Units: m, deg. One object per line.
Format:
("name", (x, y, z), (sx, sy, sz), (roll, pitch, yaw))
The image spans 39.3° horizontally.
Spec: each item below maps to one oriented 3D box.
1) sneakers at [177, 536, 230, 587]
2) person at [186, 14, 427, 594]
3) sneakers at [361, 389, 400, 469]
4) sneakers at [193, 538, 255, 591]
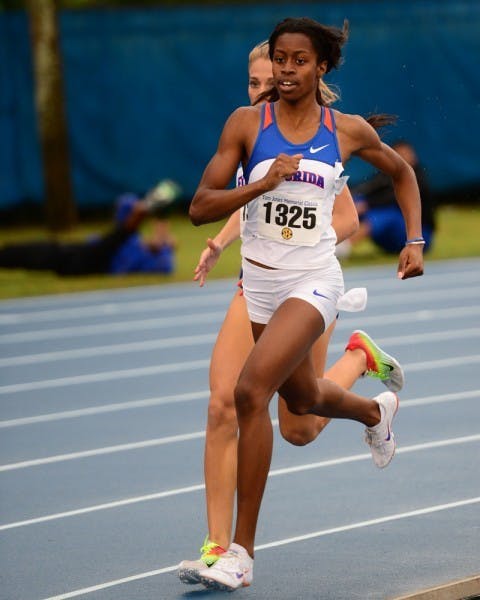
("sneakers", (-0.106, 0.737, 1.895), (0.068, 0.151, 0.210), (-7, -9, 34))
("person", (0.237, -0.017, 2.069), (0.492, 1.613, 1.000), (-1, 3, 28))
("sneakers", (0.551, 0.544, 2.763), (0.121, 0.343, 0.157), (17, 29, 39))
("sneakers", (-0.030, 0.702, 1.799), (0.070, 0.095, 0.198), (20, 0, 23))
